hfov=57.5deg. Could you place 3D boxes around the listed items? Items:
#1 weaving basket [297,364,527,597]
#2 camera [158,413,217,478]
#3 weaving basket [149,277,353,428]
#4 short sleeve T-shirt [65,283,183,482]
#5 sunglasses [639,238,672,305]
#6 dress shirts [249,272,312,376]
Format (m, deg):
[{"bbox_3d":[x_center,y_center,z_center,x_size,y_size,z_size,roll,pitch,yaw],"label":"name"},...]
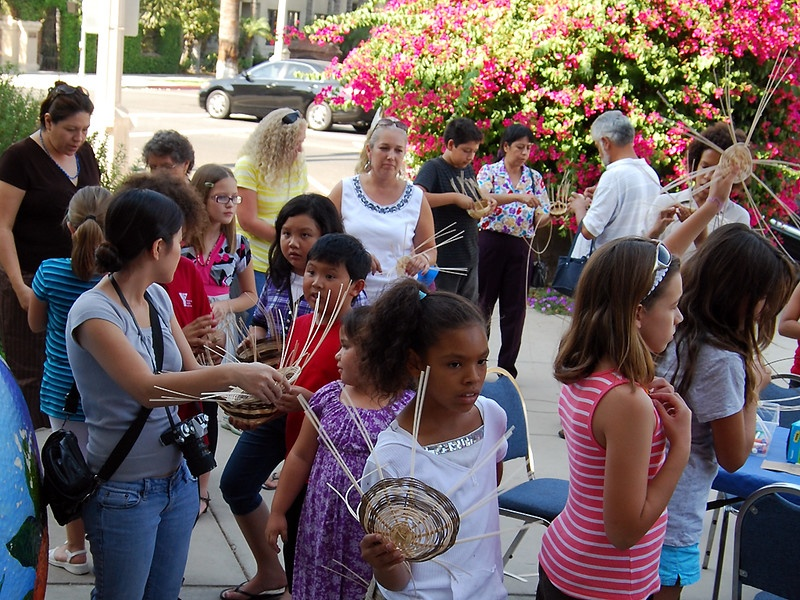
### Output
[{"bbox_3d":[0.001,0.623,2.347,0.462,0.864,0.644,-2,8,-33],"label":"weaving basket"},{"bbox_3d":[-0.799,0.551,2.755,0.203,0.226,0.095,-25,-7,-16],"label":"camera"},{"bbox_3d":[-0.527,0.133,3.017,0.553,0.294,0.568,-10,12,47],"label":"weaving basket"},{"bbox_3d":[-1.007,0.316,2.674,0.331,0.657,0.665,-1,7,-1],"label":"short sleeve T-shirt"},{"bbox_3d":[0.889,-0.095,2.492,0.049,0.163,0.162,31,35,-12],"label":"sunglasses"},{"bbox_3d":[-0.549,0.118,3.413,0.336,0.187,0.467,13,50,1],"label":"dress shirts"}]
